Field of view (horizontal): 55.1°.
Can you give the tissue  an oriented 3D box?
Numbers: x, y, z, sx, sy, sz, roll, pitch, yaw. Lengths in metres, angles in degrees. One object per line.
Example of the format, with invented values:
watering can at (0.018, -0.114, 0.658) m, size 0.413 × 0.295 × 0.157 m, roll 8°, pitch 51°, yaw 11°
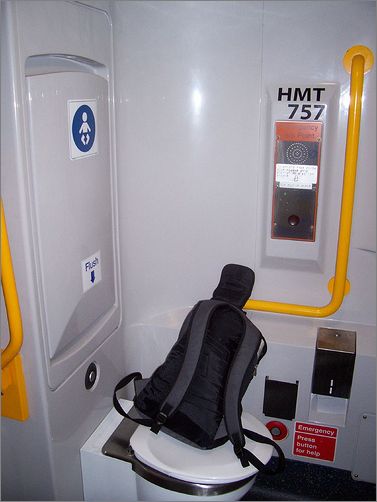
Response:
tissue  at (0.527, 0.488, 1.332) m, size 0.141 × 0.379 × 0.138 m, roll 7°, pitch 16°, yaw 24°
